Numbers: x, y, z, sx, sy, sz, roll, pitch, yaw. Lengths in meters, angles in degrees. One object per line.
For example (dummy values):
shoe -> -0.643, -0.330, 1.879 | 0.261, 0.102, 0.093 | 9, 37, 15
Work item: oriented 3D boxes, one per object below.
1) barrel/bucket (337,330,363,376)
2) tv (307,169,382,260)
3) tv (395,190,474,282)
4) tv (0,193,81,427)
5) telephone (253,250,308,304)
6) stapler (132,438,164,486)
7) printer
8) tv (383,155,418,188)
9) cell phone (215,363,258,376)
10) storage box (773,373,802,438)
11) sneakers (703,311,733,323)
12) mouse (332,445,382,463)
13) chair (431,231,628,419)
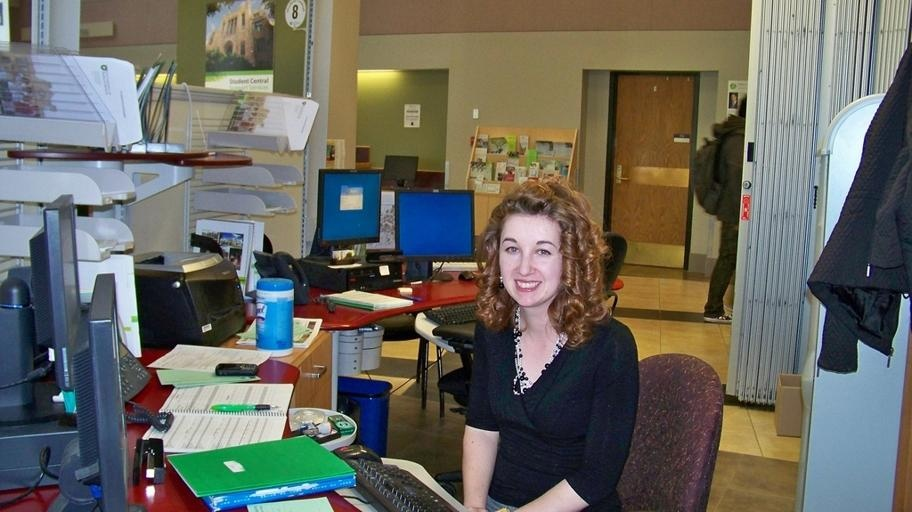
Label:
barrel/bucket -> -0.635, 0.609, 4.474 | 0.221, 0.243, 0.218 | 1, -8, 0
tv -> -0.818, -0.309, 4.945 | 0.405, 0.598, 0.526 | 12, 14, 31
tv -> -0.208, -0.147, 5.144 | 0.584, 0.650, 0.381 | -1, 6, -17
tv -> -1.587, 0.238, 2.729 | 0.296, 0.899, 0.782 | -2, 11, -26
telephone -> -1.030, 0.124, 4.276 | 0.361, 0.325, 0.277 | -1, 8, -14
stapler -> -1.152, 0.768, 2.703 | 0.108, 0.062, 0.234 | 2, 33, -14
printer -> -1.322, 0.168, 3.622 | 0.468, 0.362, 0.496 | 4, 5, 13
tv -> -0.733, -1.104, 9.593 | 0.497, 0.442, 0.326 | -3, 18, -31
cell phone -> -0.997, 0.512, 3.226 | 0.137, 0.032, 0.075 | 2, 4, -7
storage box -> 2.420, 1.082, 5.210 | 0.165, 0.406, 0.265 | 5, 10, 22
sneakers -> 2.787, 0.653, 7.625 | 0.304, 0.108, 0.108 | -3, 6, -2
mouse -> -0.392, 0.774, 2.809 | 0.183, 0.059, 0.094 | -1, 10, -15
chair -> 0.528, 0.528, 4.896 | 1.328, 1.793, 1.349 | 1, 0, 5
